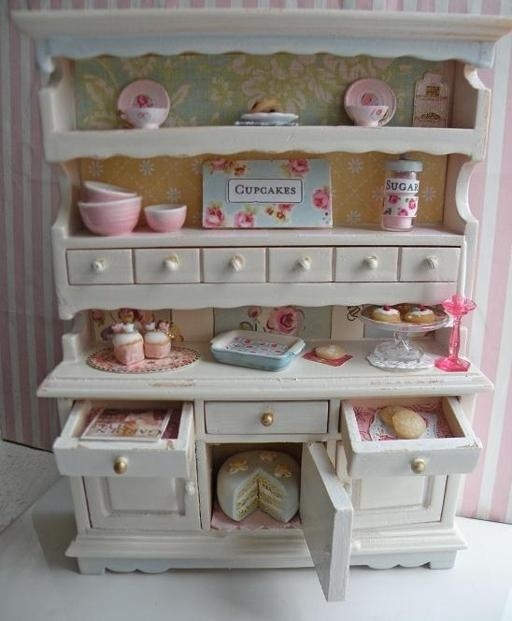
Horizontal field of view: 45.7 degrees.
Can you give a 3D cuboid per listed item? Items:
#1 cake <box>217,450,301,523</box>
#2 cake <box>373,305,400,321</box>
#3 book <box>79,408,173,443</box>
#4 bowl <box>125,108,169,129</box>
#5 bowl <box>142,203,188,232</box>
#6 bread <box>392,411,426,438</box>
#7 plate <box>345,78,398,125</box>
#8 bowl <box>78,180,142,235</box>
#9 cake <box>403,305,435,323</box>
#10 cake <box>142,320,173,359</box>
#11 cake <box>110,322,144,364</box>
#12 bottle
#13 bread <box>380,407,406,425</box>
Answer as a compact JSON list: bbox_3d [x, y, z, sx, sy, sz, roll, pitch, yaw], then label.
[{"bbox_3d":[0.013,0.559,1.921,0.253,0.142,0.220,-2,15,1],"label":"cake"},{"bbox_3d":[0.366,0.007,1.722,0.057,0.024,0.054,4,6,26],"label":"cake"},{"bbox_3d":[-0.346,0.313,1.657,0.212,0.024,0.217,-2,14,0],"label":"book"},{"bbox_3d":[-0.296,-0.522,1.652,0.095,0.035,0.084,-5,17,-16],"label":"bowl"},{"bbox_3d":[-0.261,-0.264,1.748,0.116,0.056,0.103,-2,12,-20],"label":"bowl"},{"bbox_3d":[0.418,0.314,1.661,0.090,0.064,0.103,2,15,15],"label":"bread"},{"bbox_3d":[0.292,-0.590,1.723,0.188,0.146,0.065,-2,5,0],"label":"plate"},{"bbox_3d":[-0.382,-0.287,1.714,0.205,0.130,0.164,1,12,13],"label":"bowl"},{"bbox_3d":[0.468,0.010,1.732,0.069,0.033,0.060,-1,12,0],"label":"cake"},{"bbox_3d":[-0.289,0.093,1.796,0.090,0.100,0.113,0,3,-3],"label":"cake"},{"bbox_3d":[-0.367,0.101,1.817,0.106,0.113,0.123,-4,11,-23],"label":"cake"},{"bbox_3d":[0.415,-0.325,1.728,0.103,0.197,0.064,0,18,11],"label":"bottle"},{"bbox_3d":[0.382,0.290,1.705,0.060,0.013,0.055,-13,15,-20],"label":"bread"}]
